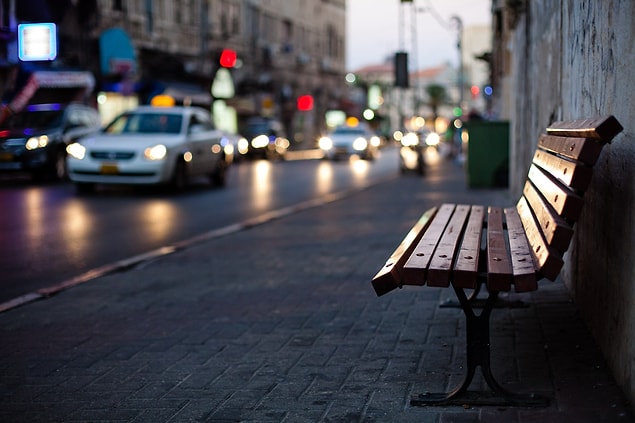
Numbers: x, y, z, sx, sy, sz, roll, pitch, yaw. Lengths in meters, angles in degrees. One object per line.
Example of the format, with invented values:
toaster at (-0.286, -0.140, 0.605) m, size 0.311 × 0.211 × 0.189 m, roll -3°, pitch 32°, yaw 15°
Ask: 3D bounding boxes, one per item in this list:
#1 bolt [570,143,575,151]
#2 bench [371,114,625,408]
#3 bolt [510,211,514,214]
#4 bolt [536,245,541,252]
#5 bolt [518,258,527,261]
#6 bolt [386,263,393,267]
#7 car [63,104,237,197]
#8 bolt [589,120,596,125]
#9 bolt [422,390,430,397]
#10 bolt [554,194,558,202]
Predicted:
bolt at (1.665, -0.424, 3.949) m, size 0.022 × 0.050 × 0.145 m, roll 2°, pitch 8°, yaw 20°
bench at (1.357, 0.209, 4.634) m, size 1.365 × 1.832 × 2.242 m, roll 1°, pitch 8°, yaw 15°
bolt at (1.942, 0.012, 6.033) m, size 0.025 × 0.011 × 0.026 m, roll 3°, pitch 10°, yaw 2°
bolt at (1.374, 0.239, 3.765) m, size 0.020 × 0.049 × 0.072 m, roll 1°, pitch 8°, yaw 15°
bolt at (1.326, 0.321, 3.919) m, size 0.042 × 0.006 × 0.073 m, roll 3°, pitch 9°, yaw 20°
bolt at (0.474, 0.359, 3.985) m, size 0.017 × 0.015 × 0.072 m, roll 5°, pitch 4°, yaw 15°
car at (-4.243, -1.706, 16.413) m, size 2.619 × 2.349 × 4.426 m, roll 4°, pitch 9°, yaw 31°
bolt at (1.725, -0.561, 3.784) m, size 0.033 × 0.027 × 0.088 m, roll 3°, pitch 9°, yaw 23°
bolt at (0.706, 1.201, 3.927) m, size 0.057 × 0.016 × 0.109 m, roll 2°, pitch 8°, yaw 12°
bolt at (1.538, -0.081, 3.904) m, size 0.012 × 0.035 × 0.033 m, roll 27°, pitch -1°, yaw -8°
